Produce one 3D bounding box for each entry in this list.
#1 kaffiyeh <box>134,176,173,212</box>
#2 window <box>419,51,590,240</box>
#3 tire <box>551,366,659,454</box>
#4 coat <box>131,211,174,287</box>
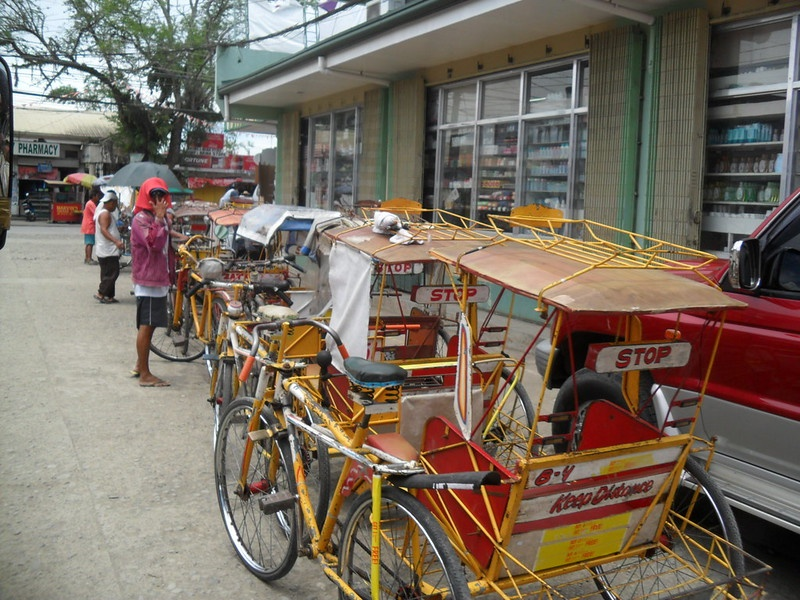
[{"bbox_3d":[-2.857,-1.228,7.794,0.451,0.407,0.397,0,2,-43],"label":"kaffiyeh"},{"bbox_3d":[1.830,-2.496,11.709,0.264,2.511,3.714,-7,11,-39],"label":"window"},{"bbox_3d":[1.269,0.885,4.503,0.782,0.756,0.288,-2,1,-5],"label":"tire"},{"bbox_3d":[-2.840,-0.605,7.833,0.499,0.824,0.716,1,9,-10],"label":"coat"}]
